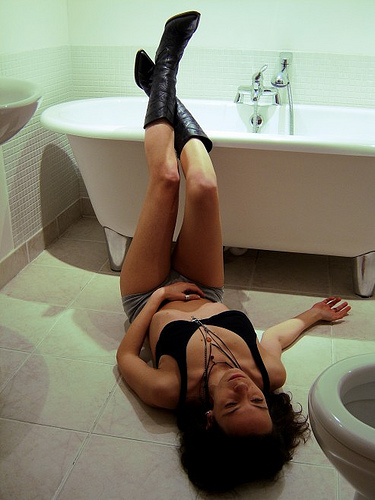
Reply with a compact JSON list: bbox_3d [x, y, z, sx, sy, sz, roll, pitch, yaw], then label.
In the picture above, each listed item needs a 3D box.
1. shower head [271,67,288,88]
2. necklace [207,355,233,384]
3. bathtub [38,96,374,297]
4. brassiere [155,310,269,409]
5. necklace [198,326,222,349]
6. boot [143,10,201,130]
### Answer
[{"bbox_3d":[0.477,-0.878,2.043,0.084,0.071,0.054,-2,22,3],"label":"shower head"},{"bbox_3d":[0.077,0.292,0.956,0.069,0.006,0.067,8,49,4],"label":"necklace"},{"bbox_3d":[0.152,-0.308,1.914,1.464,0.833,0.882,2,22,12],"label":"bathtub"},{"bbox_3d":[0.052,0.245,1.079,0.309,0.208,0.286,-2,14,0],"label":"brassiere"},{"bbox_3d":[0.059,0.230,1.027,0.016,0.001,0.054,-29,61,-31],"label":"necklace"},{"bbox_3d":[-0.028,-0.673,1.517,0.164,0.218,0.538,-4,1,3],"label":"boot"}]
